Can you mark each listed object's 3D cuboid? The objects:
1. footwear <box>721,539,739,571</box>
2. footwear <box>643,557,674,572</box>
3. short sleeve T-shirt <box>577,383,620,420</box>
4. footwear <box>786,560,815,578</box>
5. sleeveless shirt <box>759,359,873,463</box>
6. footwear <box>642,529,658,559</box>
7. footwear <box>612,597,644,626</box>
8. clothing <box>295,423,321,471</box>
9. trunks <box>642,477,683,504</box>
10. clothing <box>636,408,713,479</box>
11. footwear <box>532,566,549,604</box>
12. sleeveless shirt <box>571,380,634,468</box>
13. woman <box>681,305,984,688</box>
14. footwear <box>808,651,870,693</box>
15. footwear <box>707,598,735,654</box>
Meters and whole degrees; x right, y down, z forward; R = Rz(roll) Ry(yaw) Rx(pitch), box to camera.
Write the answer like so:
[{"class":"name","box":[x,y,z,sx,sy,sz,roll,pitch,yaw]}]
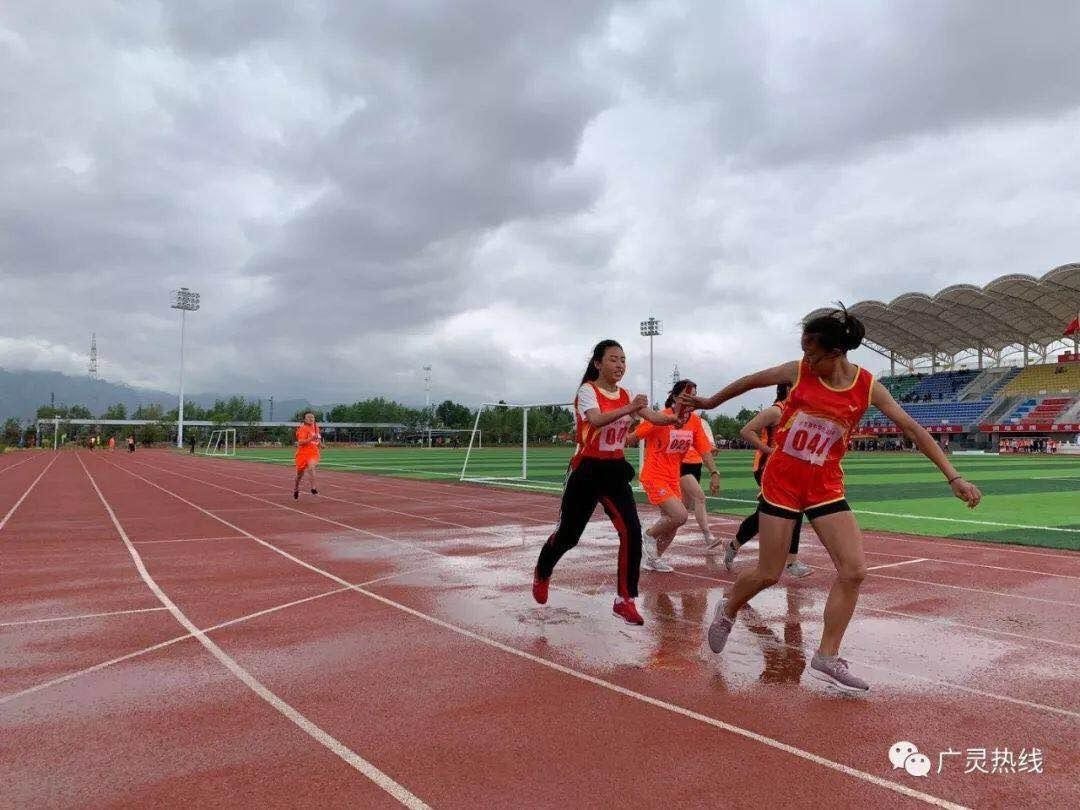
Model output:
[{"class":"footwear","box":[2.170,1.699,8.003,0.191,0.398,0.142,6,8,35]},{"class":"footwear","box":[1.348,1.880,8.213,0.382,0.154,0.145,-5,-9,38]},{"class":"short sleeve T-shirt","box":[0.475,0.021,5.778,0.347,0.317,0.511,0,0,4]},{"class":"footwear","box":[2.891,1.859,7.850,0.127,0.127,0.292,4,-11,-30]},{"class":"sleeveless shirt","box":[1.934,0.076,4.871,0.573,0.775,0.433,16,8,3]},{"class":"footwear","box":[1.283,1.648,8.251,0.157,0.333,0.125,-8,2,19]},{"class":"footwear","box":[0.738,1.738,5.913,0.142,0.165,0.379,5,-10,-24]},{"class":"clothing","box":[-5.079,0.992,15.466,0.442,1.010,0.845,0,0,-21]},{"class":"trunks","box":[1.411,1.024,8.197,0.228,0.271,0.414,-31,-15,16]},{"class":"clothing","box":[1.564,0.532,8.488,1.072,0.888,0.353,4,14,-20]},{"class":"footwear","box":[-0.002,1.687,6.384,0.147,0.380,0.169,-3,10,-6]},{"class":"sleeveless shirt","box":[0.506,0.188,5.752,0.727,0.761,0.452,4,-8,-37]},{"class":"woman","box":[1.879,0.646,4.837,1.527,2.535,0.677,0,1,29]},{"class":"footwear","box":[1.975,1.790,4.795,0.448,0.189,0.173,12,2,27]},{"class":"footwear","box":[1.363,1.650,5.203,0.167,0.462,0.188,13,-7,-26]}]
